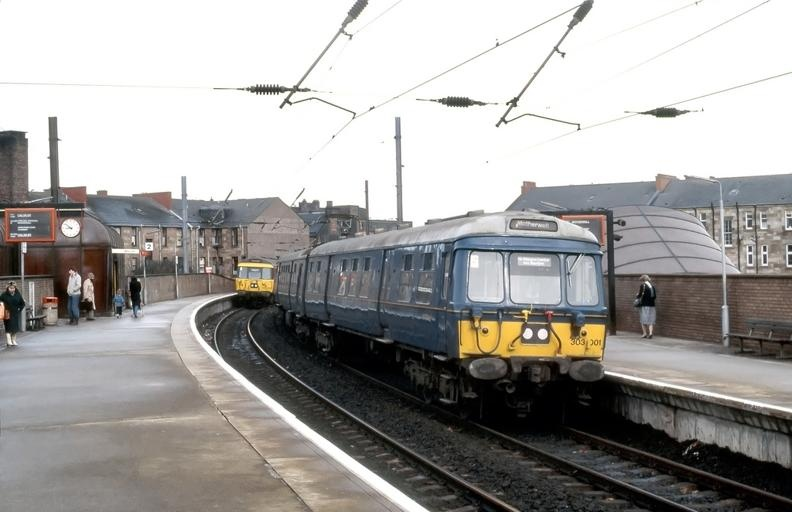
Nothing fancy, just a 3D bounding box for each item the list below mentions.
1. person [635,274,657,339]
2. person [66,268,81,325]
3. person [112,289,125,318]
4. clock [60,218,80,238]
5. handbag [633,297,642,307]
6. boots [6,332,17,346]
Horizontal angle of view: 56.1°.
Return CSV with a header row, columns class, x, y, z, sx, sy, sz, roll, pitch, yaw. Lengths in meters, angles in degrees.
class,x,y,z,sx,sy,sz,roll,pitch,yaw
person,8.268,1.664,24.665,0.597,1.986,0.708,-1,0,12
person,-13.089,1.616,30.169,0.452,2.321,1.019,-1,0,-25
person,-12.695,2.138,33.911,0.381,1.259,1.625,-1,0,-22
clock,-14.045,-1.251,31.940,0.633,0.622,0.085,-21,11,3
handbag,8.116,1.521,24.834,0.250,0.316,0.328,1,-10,1
boots,-11.865,2.514,22.905,0.261,0.394,0.534,-1,0,-26
